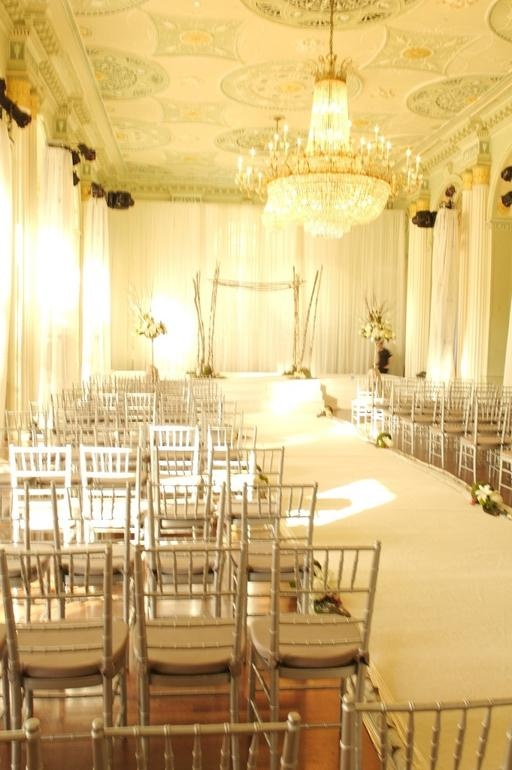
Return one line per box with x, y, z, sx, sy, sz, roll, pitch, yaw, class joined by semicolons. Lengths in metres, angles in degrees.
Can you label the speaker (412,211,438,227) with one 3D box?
4.260;-4.148;15.077;0.511;0.377;0.868;0;19;3;speaker
